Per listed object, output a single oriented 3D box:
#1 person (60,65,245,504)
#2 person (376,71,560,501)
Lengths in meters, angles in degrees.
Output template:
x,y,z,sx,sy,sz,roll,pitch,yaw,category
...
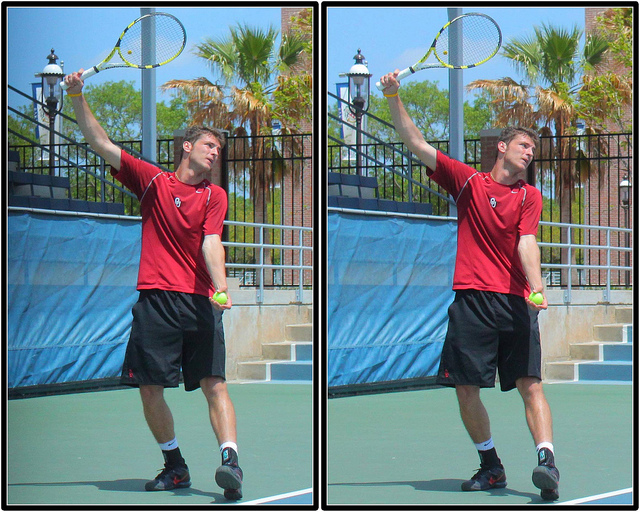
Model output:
x,y,z,sx,sy,sz,roll,pitch,yaw,category
-1.177,0.279,6.561,1.152,3.070,0.725,-1,-2,-7,person
1.212,0.378,6.654,0.998,2.776,0.570,-1,-2,7,person
